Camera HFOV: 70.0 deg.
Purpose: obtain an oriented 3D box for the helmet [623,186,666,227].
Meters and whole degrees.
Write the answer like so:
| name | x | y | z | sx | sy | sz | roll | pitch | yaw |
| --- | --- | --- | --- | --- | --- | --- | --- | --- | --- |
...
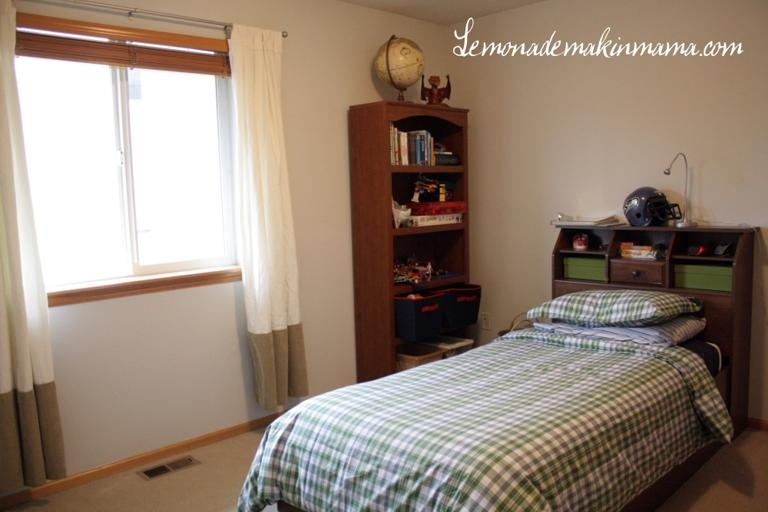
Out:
| name | x | y | z | sx | sy | sz | roll | pitch | yaw |
| --- | --- | --- | --- | --- | --- | --- | --- | --- | --- |
| helmet | 1.887 | -0.359 | 3.949 | 0.257 | 0.300 | 0.321 | 1 | -1 | -33 |

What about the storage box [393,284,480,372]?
| name | x | y | z | sx | sy | sz | roll | pitch | yaw |
| --- | --- | --- | --- | --- | --- | --- | --- | --- | --- |
| storage box | 0.376 | 0.537 | 4.181 | 0.241 | 0.582 | 0.609 | 9 | 14 | 43 |

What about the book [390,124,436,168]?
| name | x | y | z | sx | sy | sz | roll | pitch | yaw |
| --- | --- | --- | --- | --- | --- | --- | --- | --- | --- |
| book | 0.225 | -0.840 | 4.319 | 0.306 | 0.419 | 0.431 | 6 | 8 | 37 |

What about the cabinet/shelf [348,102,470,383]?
| name | x | y | z | sx | sy | sz | roll | pitch | yaw |
| --- | --- | --- | --- | --- | --- | --- | --- | --- | --- |
| cabinet/shelf | 0.305 | -0.319 | 4.557 | 0.702 | 1.797 | 0.310 | -4 | 6 | -22 |

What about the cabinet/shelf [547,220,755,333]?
| name | x | y | z | sx | sy | sz | roll | pitch | yaw |
| --- | --- | --- | --- | --- | --- | --- | --- | --- | --- |
| cabinet/shelf | 1.916 | 0.270 | 3.981 | 1.183 | 1.047 | 0.432 | 3 | 15 | 43 |
